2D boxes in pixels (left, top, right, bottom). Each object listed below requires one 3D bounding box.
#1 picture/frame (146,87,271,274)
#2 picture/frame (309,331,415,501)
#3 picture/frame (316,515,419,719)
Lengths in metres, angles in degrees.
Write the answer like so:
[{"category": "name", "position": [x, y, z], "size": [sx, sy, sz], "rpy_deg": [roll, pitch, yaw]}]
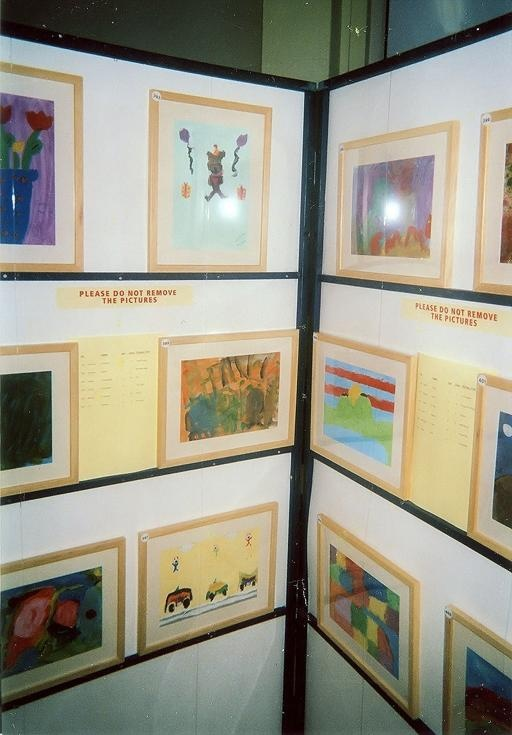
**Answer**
[{"category": "picture/frame", "position": [-0.103, -0.383, 1.042], "size": [0.241, 0.397, 0.013], "rpy_deg": [-12, 23, -38]}, {"category": "picture/frame", "position": [0.244, 0.098, 1.179], "size": [0.010, 0.340, 0.263], "rpy_deg": [-6, 16, -25]}, {"category": "picture/frame", "position": [0.266, 0.577, 1.226], "size": [0.022, 0.471, 0.381], "rpy_deg": [-6, 15, -25]}]
